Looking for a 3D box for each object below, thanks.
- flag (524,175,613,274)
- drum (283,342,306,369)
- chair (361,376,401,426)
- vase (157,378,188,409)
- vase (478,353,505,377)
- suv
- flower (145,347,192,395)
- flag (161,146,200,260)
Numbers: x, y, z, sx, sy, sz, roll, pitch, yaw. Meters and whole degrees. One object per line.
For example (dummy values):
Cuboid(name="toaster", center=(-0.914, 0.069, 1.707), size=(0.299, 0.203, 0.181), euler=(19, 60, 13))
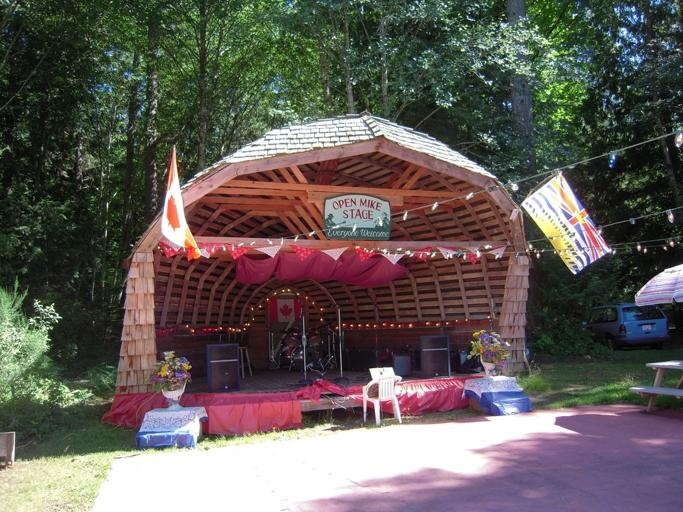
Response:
Cuboid(name="flag", center=(4.691, -0.679, 10.944), size=(1.487, 2.292, 0.606), euler=(-36, -4, 14))
Cuboid(name="drum", center=(-1.484, 3.050, 15.715), size=(0.482, 0.593, 1.637), euler=(-3, -2, -10))
Cuboid(name="chair", center=(0.662, 3.024, 10.578), size=(0.723, 0.895, 0.733), euler=(-4, -5, -13))
Cuboid(name="vase", center=(-3.201, 2.620, 10.002), size=(0.679, 0.711, 0.634), euler=(1, -13, -11))
Cuboid(name="vase", center=(3.238, 2.346, 11.343), size=(0.681, 0.439, 0.594), euler=(1, -3, -37))
Cuboid(name="suv", center=(10.067, 2.435, 18.775), size=(1.687, 1.123, 2.794), euler=(-1, 0, -9))
Cuboid(name="flower", center=(-3.230, 2.166, 9.784), size=(0.670, 0.478, 0.412), euler=(-3, -2, 12))
Cuboid(name="flag", center=(-2.997, -1.040, 9.548), size=(0.642, 2.160, 1.457), euler=(-3, -2, -17))
